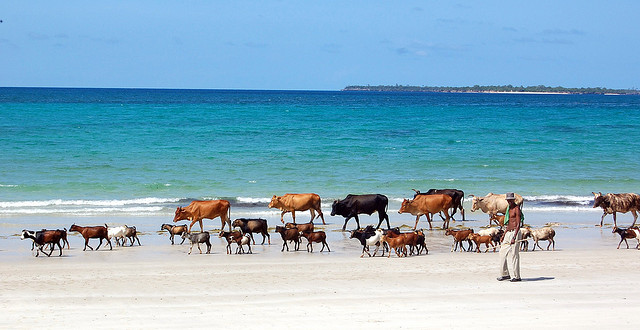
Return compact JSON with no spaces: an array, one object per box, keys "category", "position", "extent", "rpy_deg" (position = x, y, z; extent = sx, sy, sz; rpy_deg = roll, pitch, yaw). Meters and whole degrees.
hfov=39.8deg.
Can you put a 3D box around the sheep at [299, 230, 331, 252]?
[{"category":"sheep","position":[-0.286,5.020,58.123],"extent":[1.795,1.493,1.121],"rpy_deg":[-5,-5,0]}]

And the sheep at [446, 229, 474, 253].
[{"category":"sheep","position":[9.240,4.978,58.014],"extent":[1.691,1.509,0.917],"rpy_deg":[-6,-5,16]}]

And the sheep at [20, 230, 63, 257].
[{"category":"sheep","position":[-17.712,5.066,57.378],"extent":[2.396,1.754,1.167],"rpy_deg":[-4,-5,-2]}]

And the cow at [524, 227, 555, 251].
[{"category":"cow","position":[14.466,4.874,58.299],"extent":[2.706,1.552,0.631],"rpy_deg":[-7,-21,38]}]

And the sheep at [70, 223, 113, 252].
[{"category":"sheep","position":[-14.922,4.739,58.211],"extent":[3.397,1.729,0.824],"rpy_deg":[0,-11,16]}]

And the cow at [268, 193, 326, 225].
[{"category":"cow","position":[-1.473,3.176,63.116],"extent":[3.456,2.364,1.199],"rpy_deg":[-5,-5,0]}]

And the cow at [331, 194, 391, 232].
[{"category":"cow","position":[2.944,3.542,62.606],"extent":[5.707,2.733,2.646],"rpy_deg":[-1,0,-18]}]

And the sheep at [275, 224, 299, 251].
[{"category":"sheep","position":[-2.000,4.829,58.143],"extent":[1.368,1.682,0.612],"rpy_deg":[-5,-5,-2]}]

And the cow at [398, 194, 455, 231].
[{"category":"cow","position":[7.612,3.308,62.001],"extent":[3.556,2.588,1.349],"rpy_deg":[-5,-5,3]}]

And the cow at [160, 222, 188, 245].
[{"category":"cow","position":[-9.642,4.623,59.514],"extent":[0.905,1.343,1.778],"rpy_deg":[-1,-5,-42]}]

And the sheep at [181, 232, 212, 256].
[{"category":"sheep","position":[-7.977,5.054,57.847],"extent":[2.322,1.229,0.624],"rpy_deg":[-1,3,-36]}]
